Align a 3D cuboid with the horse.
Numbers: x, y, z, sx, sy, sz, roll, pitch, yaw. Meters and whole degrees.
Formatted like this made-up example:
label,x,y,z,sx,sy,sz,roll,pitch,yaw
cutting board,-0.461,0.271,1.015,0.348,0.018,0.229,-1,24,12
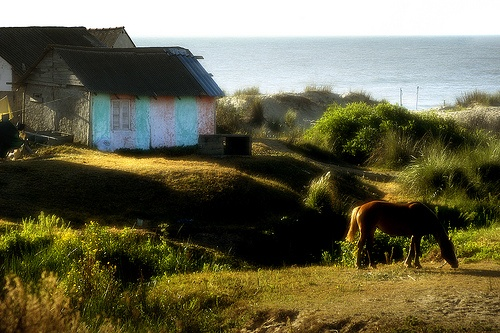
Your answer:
label,x,y,z,sx,sy,sz,roll,pitch,yaw
horse,3.911,1.853,16.200,2.725,1.857,0.734,1,-3,9
